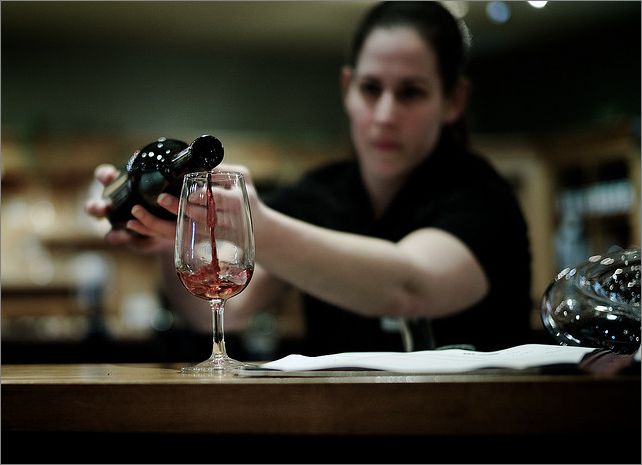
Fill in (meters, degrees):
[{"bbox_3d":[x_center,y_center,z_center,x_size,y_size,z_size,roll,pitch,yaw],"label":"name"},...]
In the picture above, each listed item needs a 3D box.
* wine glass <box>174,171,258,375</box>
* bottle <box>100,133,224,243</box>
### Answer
[{"bbox_3d":[-0.147,0.049,0.911,0.109,0.266,0.054,-4,8,-11],"label":"wine glass"},{"bbox_3d":[-0.267,-0.086,1.055,0.107,0.104,0.330,9,-16,-36],"label":"bottle"}]
